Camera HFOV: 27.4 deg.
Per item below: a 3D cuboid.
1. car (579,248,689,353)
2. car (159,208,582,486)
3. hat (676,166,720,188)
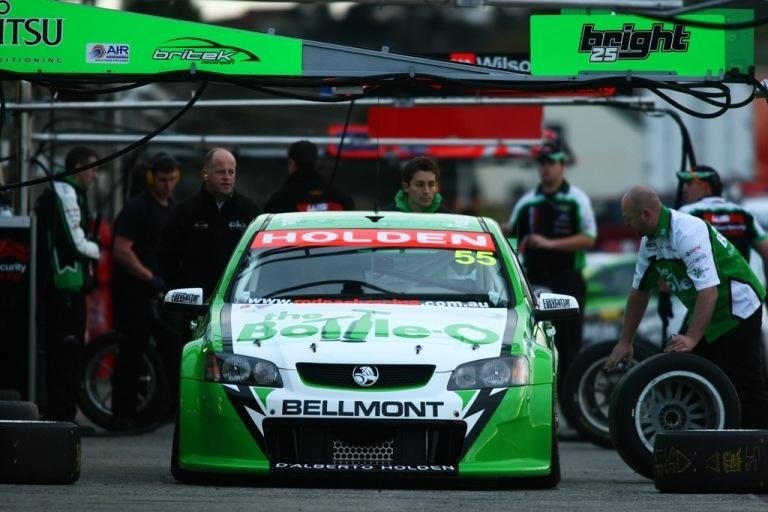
[{"bbox_3d":[3.869,0.643,23.101,1.789,0.915,1.057,2,-1,-4],"label":"car"},{"bbox_3d":[-0.113,0.869,13.182,3.053,1.971,1.634,1,6,-2],"label":"car"},{"bbox_3d":[3.241,-0.800,16.220,0.374,0.179,0.218,3,9,1],"label":"hat"}]
